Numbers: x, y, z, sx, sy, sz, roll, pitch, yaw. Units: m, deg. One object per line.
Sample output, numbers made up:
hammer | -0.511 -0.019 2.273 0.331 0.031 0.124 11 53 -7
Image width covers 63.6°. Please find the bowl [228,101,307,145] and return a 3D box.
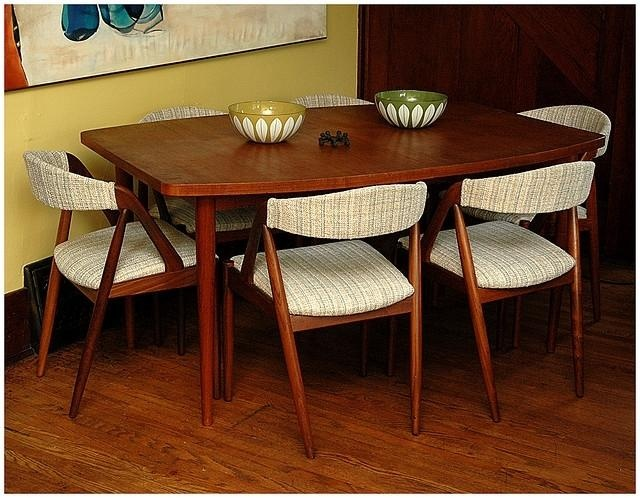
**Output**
bowl | -0.234 -0.533 2.315 0.275 0.097 0.263 3 9 0

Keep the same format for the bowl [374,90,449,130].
bowl | 0.521 -0.669 2.624 0.359 0.118 0.350 0 11 0
